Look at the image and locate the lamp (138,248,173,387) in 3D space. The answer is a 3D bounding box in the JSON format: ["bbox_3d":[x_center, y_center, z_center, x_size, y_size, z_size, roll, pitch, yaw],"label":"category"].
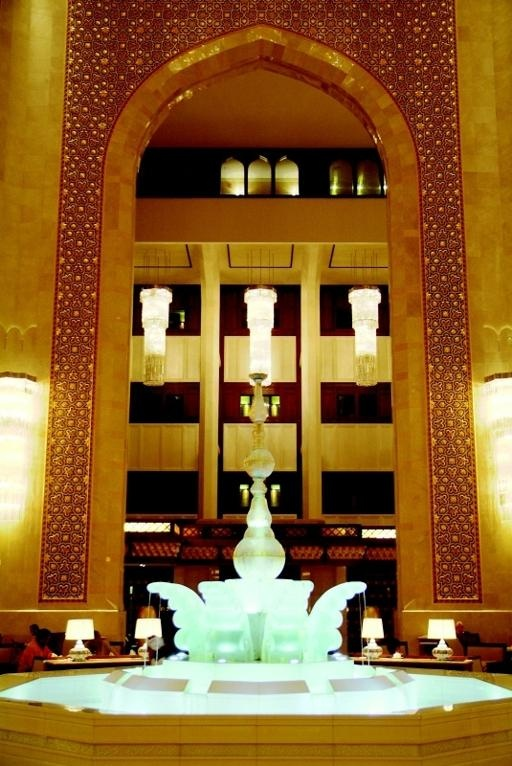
[{"bbox_3d":[-1.515,-0.741,10.789,0.464,1.618,0.845,3,-10,-10],"label":"lamp"}]
